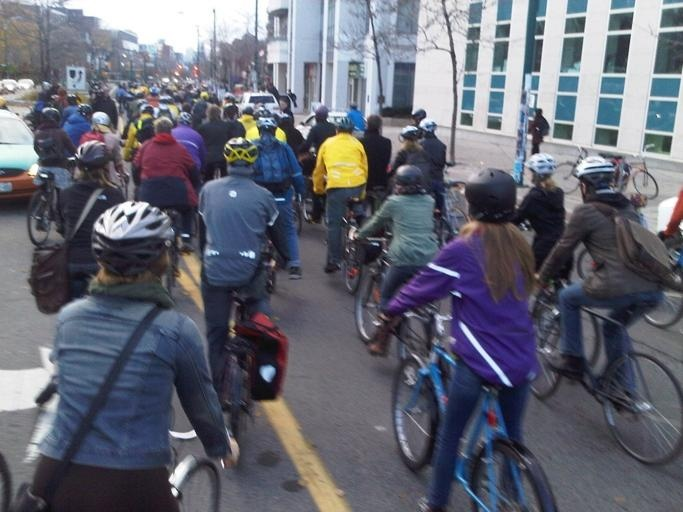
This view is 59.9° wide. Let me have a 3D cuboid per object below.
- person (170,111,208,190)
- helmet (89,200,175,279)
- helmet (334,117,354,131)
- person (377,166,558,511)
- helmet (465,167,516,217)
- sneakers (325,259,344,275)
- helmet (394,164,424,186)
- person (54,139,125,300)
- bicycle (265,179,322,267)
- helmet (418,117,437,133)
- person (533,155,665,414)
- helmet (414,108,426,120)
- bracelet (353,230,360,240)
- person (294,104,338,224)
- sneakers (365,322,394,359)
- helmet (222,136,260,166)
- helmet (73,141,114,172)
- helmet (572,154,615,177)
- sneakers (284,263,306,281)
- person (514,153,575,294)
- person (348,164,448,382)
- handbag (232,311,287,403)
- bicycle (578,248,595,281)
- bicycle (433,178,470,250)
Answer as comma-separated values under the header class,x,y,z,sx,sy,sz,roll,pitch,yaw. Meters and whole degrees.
class,x,y,z,sx,sy,sz,roll,pitch,yaw
person,-2.421,-1.789,9.867,0.689,0.545,1.363,-13,51,-21
helmet,-0.983,-0.126,2.853,0.357,0.296,0.456,0,19,-19
helmet,0.057,-1.894,8.621,0.158,0.256,0.216,2,1,8
person,0.782,0.599,3.632,0.810,2.212,0.366,7,14,23
helmet,0.899,-0.348,3.550,0.209,0.297,0.324,4,39,9
sneakers,-0.138,0.157,9.281,0.119,0.173,0.363,-2,17,-9
helmet,0.678,-0.788,5.896,0.233,0.214,0.190,-19,35,-23
person,-2.251,-0.119,5.428,0.538,2.089,0.599,-8,36,-34
bicycle,-0.592,-0.202,7.613,0.469,0.754,1.213,-4,32,-4
helmet,1.512,-2.269,10.344,0.360,0.364,0.425,3,4,5
person,2.322,0.203,5.244,0.950,2.182,0.982,-3,7,-43
helmet,1.523,-2.786,11.633,0.251,0.200,0.408,4,15,6
bracelet,0.157,-0.207,6.091,0.055,0.098,0.083,0,7,1
person,-0.415,-1.797,11.066,0.587,2.217,0.715,-6,-19,40
sneakers,0.287,0.638,4.676,0.160,0.371,0.238,12,5,-14
helmet,-0.855,-0.899,4.985,0.195,0.290,0.280,1,18,-3
helmet,-2.126,-0.894,5.120,0.215,0.316,0.174,29,34,-5
helmet,2.187,-0.719,5.146,0.286,0.183,0.222,13,33,31
sneakers,-0.682,0.221,8.601,0.146,0.218,0.452,1,13,9
person,2.036,-0.282,6.227,0.494,1.725,0.538,2,31,10
person,0.591,-0.180,6.257,0.852,1.899,0.908,7,31,15
handbag,-0.603,0.650,4.451,0.377,0.784,0.719,-2,9,-8
bicycle,3.266,0.119,7.894,0.098,0.501,0.477,0,36,33
bicycle,1.496,-0.587,8.190,0.305,0.466,1.256,-1,57,8
